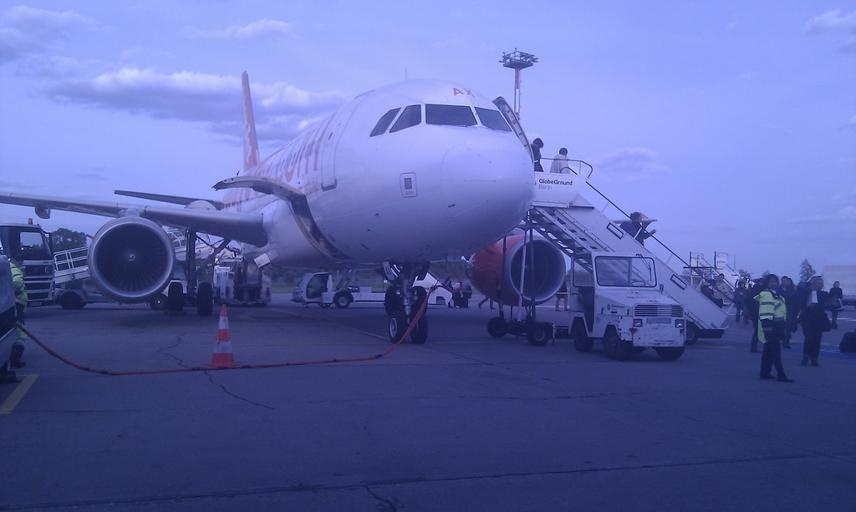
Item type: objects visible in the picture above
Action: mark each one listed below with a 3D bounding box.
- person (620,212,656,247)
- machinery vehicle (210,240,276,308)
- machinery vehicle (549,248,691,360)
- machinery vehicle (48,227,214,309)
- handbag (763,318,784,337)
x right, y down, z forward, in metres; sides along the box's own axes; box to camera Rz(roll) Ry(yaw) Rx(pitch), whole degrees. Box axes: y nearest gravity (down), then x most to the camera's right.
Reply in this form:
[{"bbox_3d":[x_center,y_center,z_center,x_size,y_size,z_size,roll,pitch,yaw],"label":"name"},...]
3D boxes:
[{"bbox_3d":[5.583,-0.677,17.375,0.836,0.895,0.860,20,-4,41],"label":"person"},{"bbox_3d":[-7.501,0.878,27.493,2.669,2.331,4.820,1,-1,-21],"label":"machinery vehicle"},{"bbox_3d":[4.618,1.116,15.547,1.884,2.222,3.892,-3,-2,-7],"label":"machinery vehicle"},{"bbox_3d":[-12.292,0.581,27.309,7.276,3.220,2.058,0,-7,-6],"label":"machinery vehicle"},{"bbox_3d":[6.786,1.401,12.655,0.356,0.263,0.351,0,-7,-1],"label":"handbag"}]
